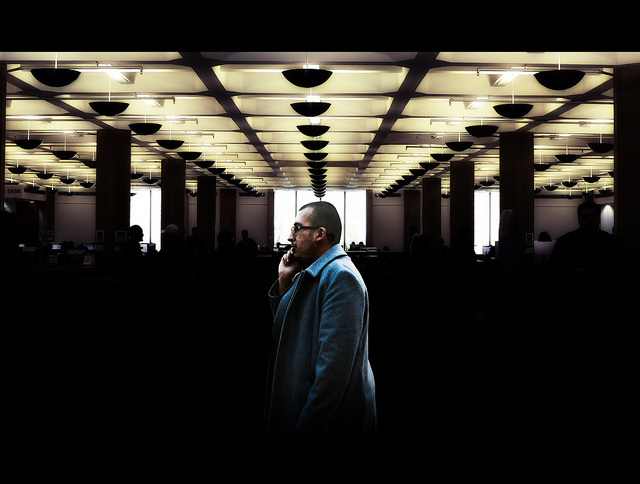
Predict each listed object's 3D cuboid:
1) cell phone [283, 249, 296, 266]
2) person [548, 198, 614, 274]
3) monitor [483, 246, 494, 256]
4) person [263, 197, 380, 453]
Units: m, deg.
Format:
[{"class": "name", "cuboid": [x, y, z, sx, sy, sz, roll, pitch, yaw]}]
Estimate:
[{"class": "cell phone", "cuboid": [-0.203, 0.106, 4.093, 0.090, 0.091, 0.033, 1, 14, -18]}, {"class": "person", "cuboid": [3.343, -0.040, 7.653, 0.969, 0.948, 0.498, 2, -2, 16]}, {"class": "monitor", "cuboid": [6.032, 0.296, 22.043, 0.310, 0.310, 0.231, 0, -5, 6]}, {"class": "person", "cuboid": [0.002, 0.545, 4.226, 0.770, 1.526, 1.632, -1, -12, 4]}]
